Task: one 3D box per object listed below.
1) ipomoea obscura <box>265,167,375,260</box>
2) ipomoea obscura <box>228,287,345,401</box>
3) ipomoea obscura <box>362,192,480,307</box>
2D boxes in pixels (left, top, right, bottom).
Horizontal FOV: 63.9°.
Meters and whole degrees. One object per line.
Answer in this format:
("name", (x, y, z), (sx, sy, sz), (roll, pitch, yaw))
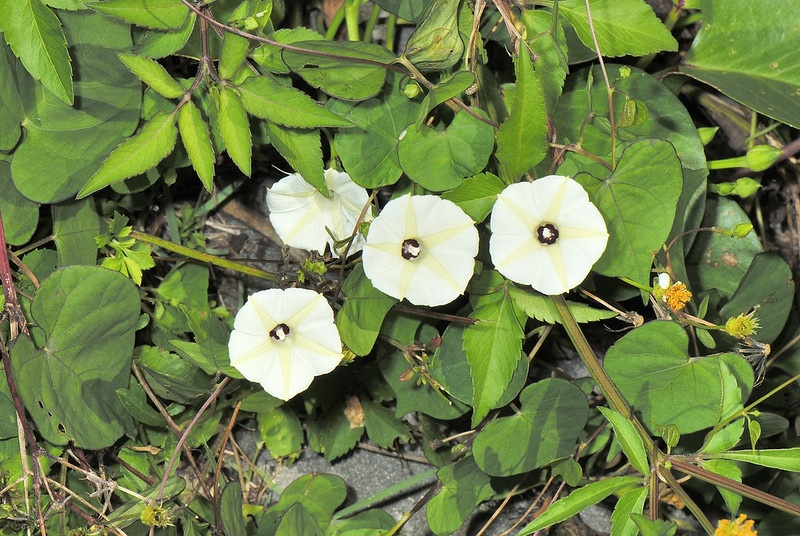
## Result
("ipomoea obscura", (-0.305, -0.208, 2.370), (0.367, 0.184, 0.303), (14, 80, 0))
("ipomoea obscura", (-0.396, 0.247, 2.212), (0.377, 0.177, 0.352), (-29, 83, -7))
("ipomoea obscura", (0.064, -0.036, 2.219), (0.356, 0.387, 0.342), (15, 80, 1))
